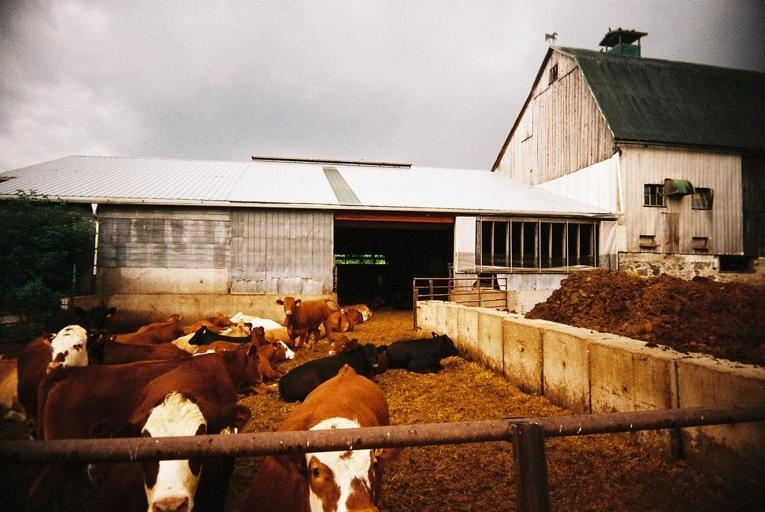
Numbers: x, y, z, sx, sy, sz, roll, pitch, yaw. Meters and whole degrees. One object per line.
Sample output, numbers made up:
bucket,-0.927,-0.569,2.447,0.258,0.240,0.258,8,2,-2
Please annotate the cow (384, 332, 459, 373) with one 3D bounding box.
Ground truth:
cow,0.697,1.741,11.091,1.271,0.737,0.603,-2,-4,-1

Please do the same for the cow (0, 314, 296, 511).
cow,-3.261,1.702,10.240,3.411,1.412,5.141,-1,-1,35
